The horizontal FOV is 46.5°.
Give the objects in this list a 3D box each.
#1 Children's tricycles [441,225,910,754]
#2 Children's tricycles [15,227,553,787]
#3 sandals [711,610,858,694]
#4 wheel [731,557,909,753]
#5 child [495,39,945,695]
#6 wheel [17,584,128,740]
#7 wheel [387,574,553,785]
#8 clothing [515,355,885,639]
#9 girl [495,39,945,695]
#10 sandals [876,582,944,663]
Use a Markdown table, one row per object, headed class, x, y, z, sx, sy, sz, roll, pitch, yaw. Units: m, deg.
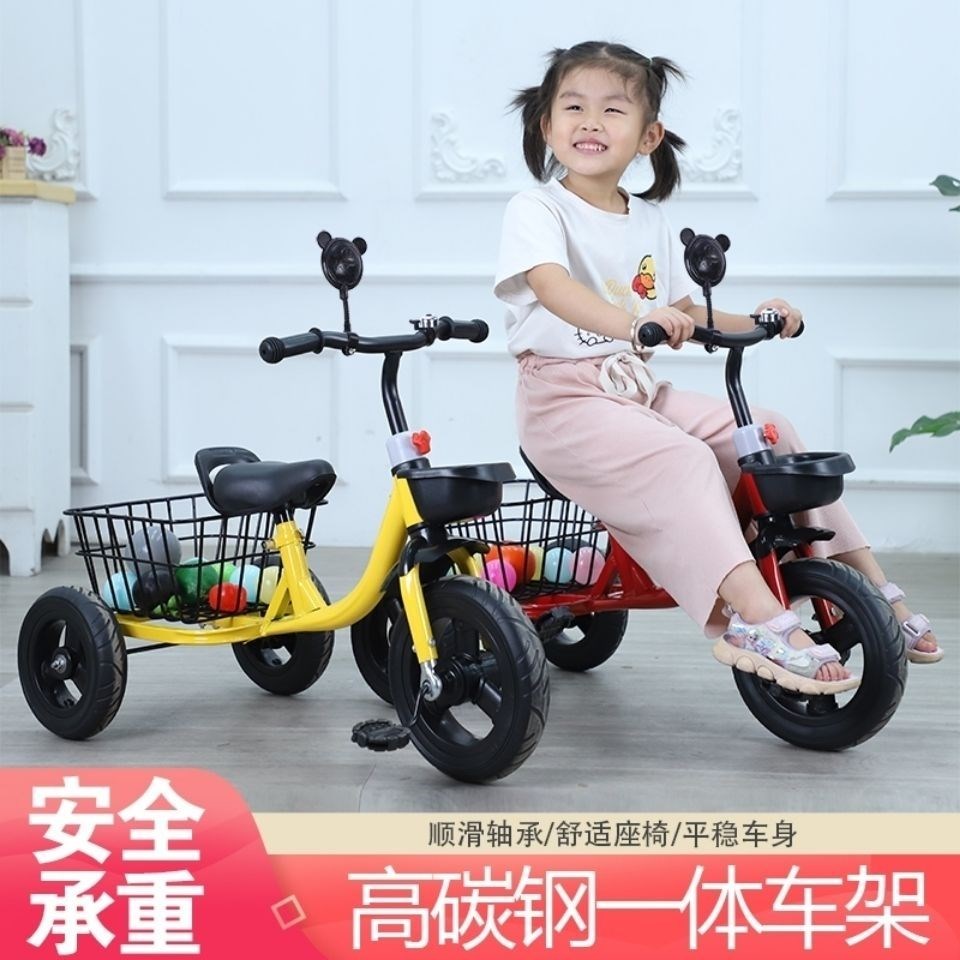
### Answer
| class | x | y | z | sx | sy | sz | roll | pitch | yaw |
| --- | --- | --- | --- | --- | --- | --- | --- | --- | --- |
| Children's tricycles | 0.274 | 0.044 | 1.588 | 0.370 | 0.586 | 0.798 | 6 | -5 | -30 |
| Children's tricycles | -0.225 | 0.044 | 1.407 | 0.753 | 0.596 | 0.483 | 2 | -1 | 44 |
| sandals | 0.339 | 0.186 | 1.245 | 0.152 | 0.067 | 0.071 | 13 | 10 | 24 |
| wheel | 0.395 | 0.207 | 1.309 | 0.074 | 0.205 | 0.235 | -13 | -6 | -45 |
| child | 0.268 | -0.186 | 1.425 | 0.413 | 0.742 | 0.627 | -10 | 18 | -34 |
| wheel | -0.517 | 0.237 | 1.426 | 0.052 | 0.152 | 0.141 | -3 | 33 | -47 |
| wheel | -0.016 | 0.225 | 1.221 | 0.192 | 0.200 | 0.069 | -22 | -4 | 41 |
| clothing | 0.251 | -0.015 | 1.461 | 0.305 | 0.271 | 0.443 | -11 | 18 | -36 |
| girl | 0.264 | -0.180 | 1.409 | 0.379 | 0.751 | 0.650 | -11 | 20 | -33 |
| sandals | 0.568 | 0.184 | 1.448 | 0.048 | 0.038 | 0.129 | -35 | 18 | 18 |
